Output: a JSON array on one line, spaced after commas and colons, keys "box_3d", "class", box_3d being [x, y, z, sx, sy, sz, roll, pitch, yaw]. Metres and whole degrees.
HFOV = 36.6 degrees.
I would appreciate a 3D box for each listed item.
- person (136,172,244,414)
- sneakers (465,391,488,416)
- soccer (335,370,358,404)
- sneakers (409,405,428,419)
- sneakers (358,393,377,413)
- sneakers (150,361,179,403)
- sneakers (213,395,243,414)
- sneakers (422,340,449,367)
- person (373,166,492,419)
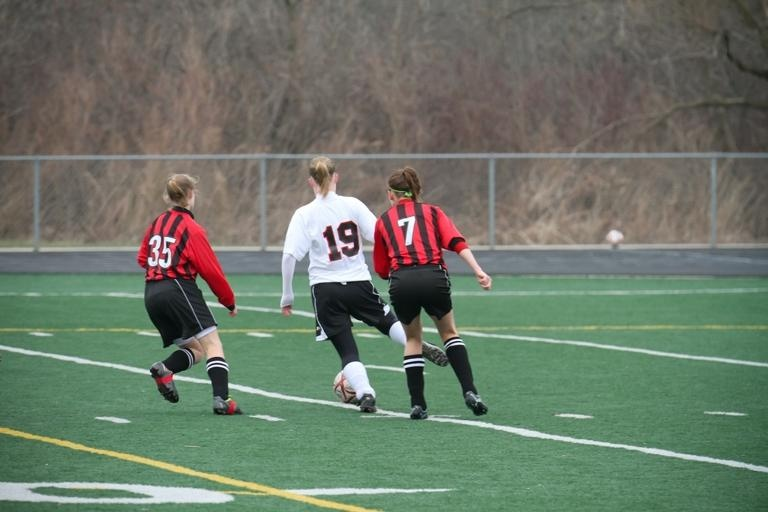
[{"box_3d": [-2.354, 0.423, 13.928, 1.108, 2.789, 1.041, -2, 9, -12], "class": "person"}, {"box_3d": [1.033, 1.673, 13.429, 0.178, 0.348, 0.156, -44, -11, -1], "class": "sneakers"}, {"box_3d": [-0.495, 1.604, 14.151, 0.303, 0.290, 0.374, -1, 2, -7], "class": "soccer"}, {"box_3d": [0.393, 1.827, 13.631, 0.103, 0.108, 0.258, 1, 3, 11], "class": "sneakers"}, {"box_3d": [-0.202, 1.734, 13.833, 0.186, 0.228, 0.113, -13, 43, 14], "class": "sneakers"}, {"box_3d": [-2.621, 1.488, 13.833, 0.186, 0.494, 0.264, -36, -5, 26], "class": "sneakers"}, {"box_3d": [-1.862, 1.744, 13.770, 0.334, 0.216, 0.139, -1, 9, -8], "class": "sneakers"}, {"box_3d": [0.609, 1.200, 14.266, 0.479, 0.152, 0.191, 25, 16, 1], "class": "sneakers"}, {"box_3d": [0.479, 0.421, 13.722, 1.435, 2.906, 0.705, 6, 11, 36], "class": "person"}]
